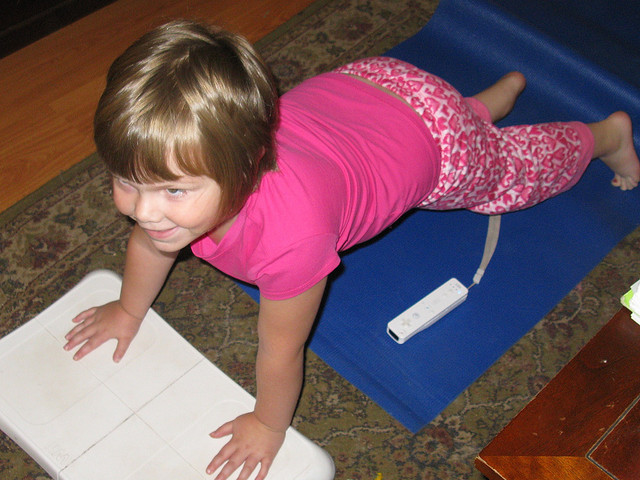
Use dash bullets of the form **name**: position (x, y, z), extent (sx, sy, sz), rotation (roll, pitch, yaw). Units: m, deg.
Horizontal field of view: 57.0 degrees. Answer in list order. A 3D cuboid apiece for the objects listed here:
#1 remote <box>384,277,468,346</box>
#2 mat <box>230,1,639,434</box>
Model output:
- **remote**: position (0.286, 0.181, 1.542), extent (0.215, 0.032, 0.071), rotation (-34, 50, -4)
- **mat**: position (0.503, -0.039, 1.677), extent (1.342, 0.166, 0.991), rotation (-40, 62, -16)
